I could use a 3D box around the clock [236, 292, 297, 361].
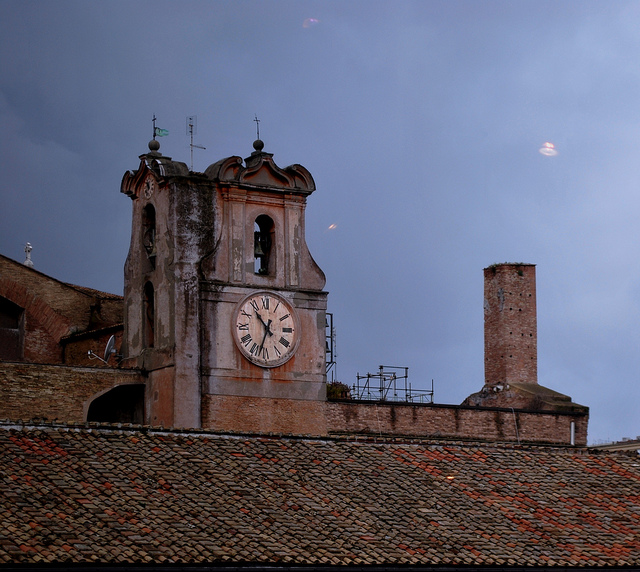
[{"bbox_3d":[-1.397,1.056,40.253,1.814,1.839,0.186,6,-12,-29],"label":"clock"}]

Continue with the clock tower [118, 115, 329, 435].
[{"bbox_3d":[-2.391,-0.095,40.384,5.033,7.481,2.588,2,-9,-5],"label":"clock tower"}]

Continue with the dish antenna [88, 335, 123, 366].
[{"bbox_3d":[-5.969,1.790,42.962,0.816,0.831,0.738,6,-46,11],"label":"dish antenna"}]
